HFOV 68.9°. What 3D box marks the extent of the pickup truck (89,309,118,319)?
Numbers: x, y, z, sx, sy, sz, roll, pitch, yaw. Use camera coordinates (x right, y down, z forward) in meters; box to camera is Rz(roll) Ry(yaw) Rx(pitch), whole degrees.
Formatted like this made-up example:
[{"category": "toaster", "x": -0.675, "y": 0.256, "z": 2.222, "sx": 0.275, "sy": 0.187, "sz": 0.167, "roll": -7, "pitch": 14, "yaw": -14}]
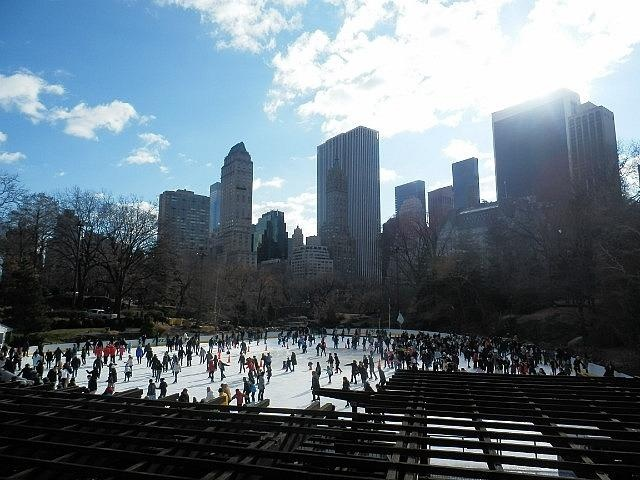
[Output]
[{"category": "pickup truck", "x": -26.575, "y": 9.122, "z": 56.979, "sx": 2.785, "sy": 0.963, "sz": 1.355, "roll": 7, "pitch": -6, "yaw": 0}]
